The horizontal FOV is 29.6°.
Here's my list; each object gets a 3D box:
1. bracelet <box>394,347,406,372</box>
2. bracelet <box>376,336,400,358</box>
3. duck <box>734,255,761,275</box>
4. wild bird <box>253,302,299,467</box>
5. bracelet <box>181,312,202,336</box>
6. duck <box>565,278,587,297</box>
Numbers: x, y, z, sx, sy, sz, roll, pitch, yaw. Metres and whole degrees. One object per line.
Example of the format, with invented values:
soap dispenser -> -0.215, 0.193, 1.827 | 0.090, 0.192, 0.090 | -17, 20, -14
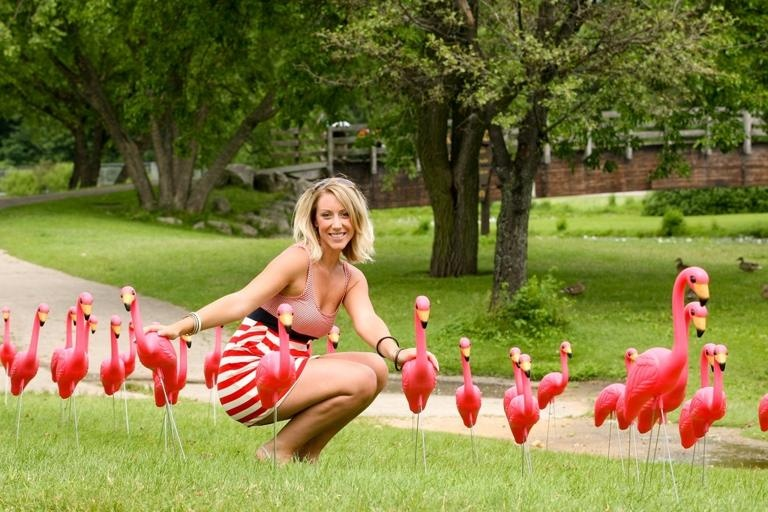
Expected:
bracelet -> 0.290, 2.129, 29.457 | 0.101, 0.404, 0.295 | 11, 22, -6
bracelet -> 0.070, 1.880, 29.539 | 0.419, 0.466, 0.122 | 1, 2, 0
duck -> 11.118, 0.286, 44.783 | 0.984, 0.632, 0.431 | 11, 6, 40
wild bird -> -2.161, 2.258, 29.182 | 0.727, 2.598, 0.458 | 2, 4, 14
bracelet -> -3.834, 1.389, 29.125 | 0.201, 0.446, 0.366 | -4, -13, -4
duck -> 5.572, 1.053, 42.147 | 0.509, 0.473, 0.262 | 5, -21, 28
